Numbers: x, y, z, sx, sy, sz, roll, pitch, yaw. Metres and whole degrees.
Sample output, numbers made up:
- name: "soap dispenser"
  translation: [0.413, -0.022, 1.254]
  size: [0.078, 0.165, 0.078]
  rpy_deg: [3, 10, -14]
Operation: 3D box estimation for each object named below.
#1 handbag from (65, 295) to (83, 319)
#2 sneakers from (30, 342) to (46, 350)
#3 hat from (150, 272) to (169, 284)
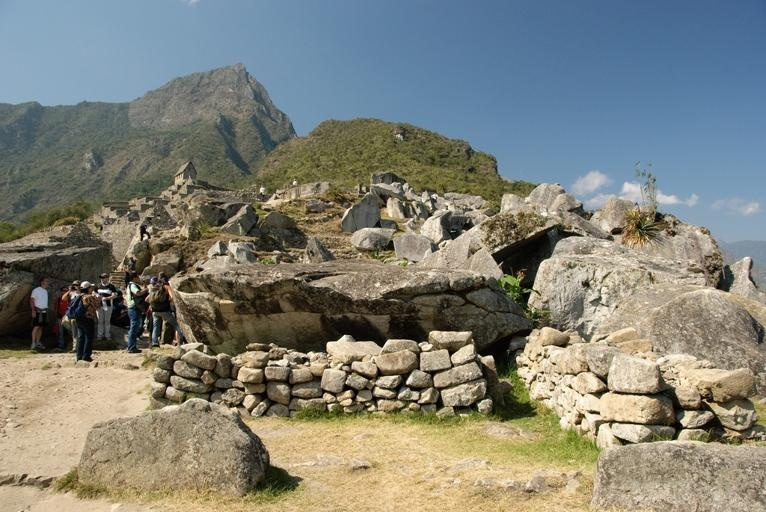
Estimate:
- name: "handbag"
  translation: [-7.632, 1.272, 14.708]
  size: [0.394, 0.582, 0.172]
  rpy_deg: [-4, -10, 37]
- name: "sneakers"
  translation: [-9.652, 2.521, 16.535]
  size: [0.544, 0.218, 0.197]
  rpy_deg: [-1, -3, 23]
- name: "hat"
  translation: [-6.731, 0.666, 17.865]
  size: [0.467, 0.277, 0.587]
  rpy_deg: [2, 8, -22]
